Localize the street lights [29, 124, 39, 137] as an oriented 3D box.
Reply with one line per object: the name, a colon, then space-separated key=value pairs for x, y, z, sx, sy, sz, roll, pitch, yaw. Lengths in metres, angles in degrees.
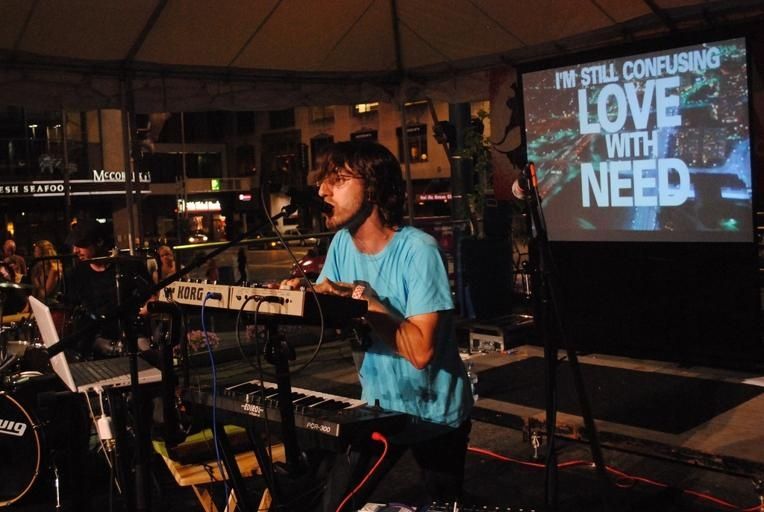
street lights: x=-13.932 y=-5.046 z=27.589 sx=0.458 sy=0.436 sz=0.230 roll=-6 pitch=5 yaw=-30
